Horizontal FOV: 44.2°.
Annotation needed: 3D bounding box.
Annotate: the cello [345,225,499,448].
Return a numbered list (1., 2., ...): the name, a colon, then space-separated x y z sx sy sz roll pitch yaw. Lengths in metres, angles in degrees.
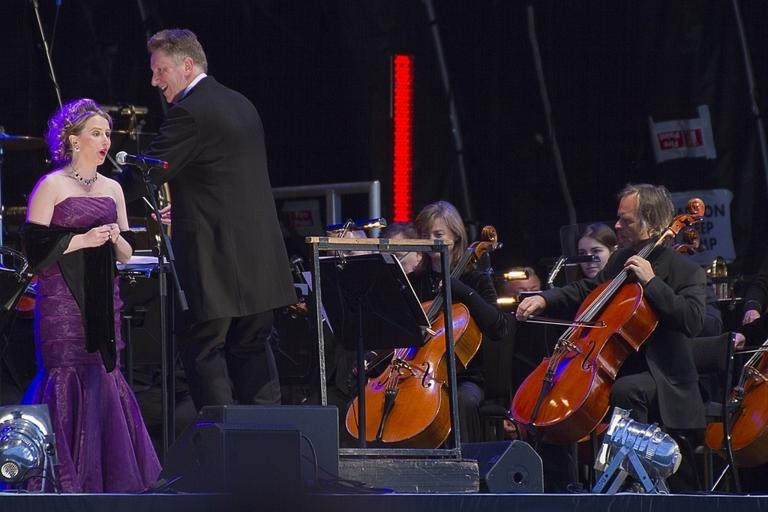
1. cello: 0.333 0.575 6.549 0.706 1.864 0.387 -9 -46 42

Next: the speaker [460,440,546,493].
1. speaker: 0.674 1.205 5.451 0.289 0.281 0.653 -3 1 -43

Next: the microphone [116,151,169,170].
1. microphone: -1.473 -0.559 5.586 0.376 0.120 0.109 3 11 19

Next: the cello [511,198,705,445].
1. cello: 1.628 0.528 6.471 0.412 1.792 0.583 39 0 -17

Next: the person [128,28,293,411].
1. person: -1.005 -0.254 5.828 0.830 2.323 0.525 -3 2 -15

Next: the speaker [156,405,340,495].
1. speaker: -0.694 0.993 4.836 0.913 0.422 0.367 -3 1 -6
